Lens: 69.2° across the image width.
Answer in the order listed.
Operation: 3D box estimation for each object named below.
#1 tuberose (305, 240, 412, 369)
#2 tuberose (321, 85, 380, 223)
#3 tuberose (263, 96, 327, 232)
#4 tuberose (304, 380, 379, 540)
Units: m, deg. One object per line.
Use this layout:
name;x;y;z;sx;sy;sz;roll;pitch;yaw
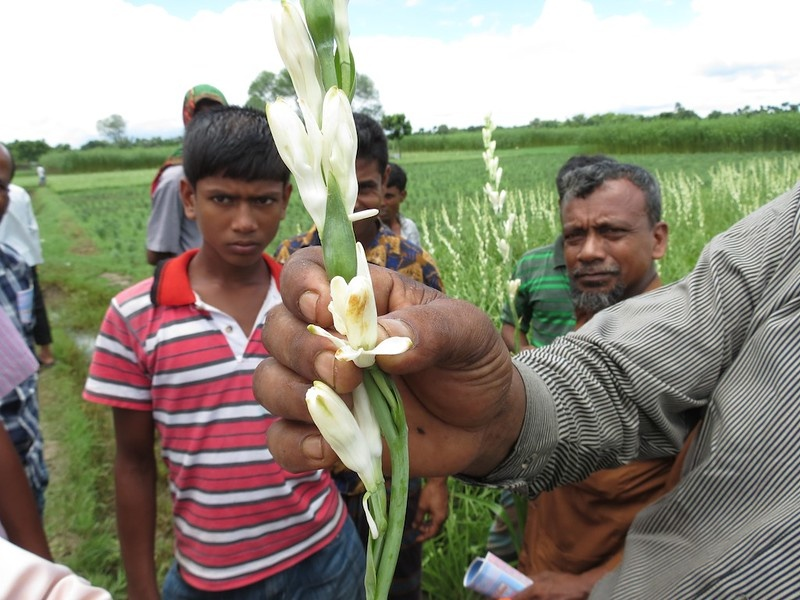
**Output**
tuberose;-0.083;0.014;1.280;0.224;0.238;0.234;4;18;17
tuberose;-0.124;-0.309;1.196;0.078;0.258;0.059;-9;10;-20
tuberose;-0.220;-0.287;1.228;0.097;0.288;0.161;-10;9;-21
tuberose;-0.112;0.289;1.218;0.142;0.255;0.082;-10;10;-25
